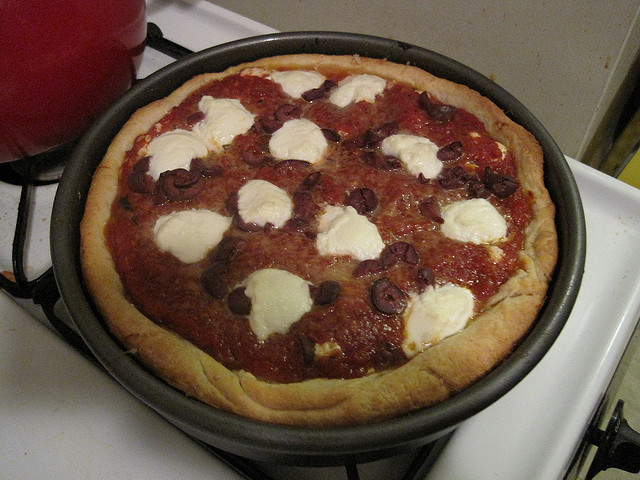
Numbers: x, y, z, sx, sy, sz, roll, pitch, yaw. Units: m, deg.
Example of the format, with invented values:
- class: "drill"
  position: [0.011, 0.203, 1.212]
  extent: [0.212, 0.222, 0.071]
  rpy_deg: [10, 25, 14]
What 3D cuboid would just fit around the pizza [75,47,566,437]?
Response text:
- class: "pizza"
  position: [0.011, -0.092, 2.354]
  extent: [1.720, 0.291, 1.498]
  rpy_deg: [-12, 67, -10]
